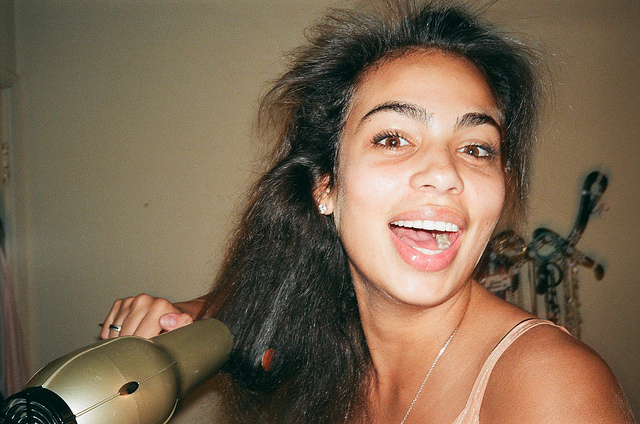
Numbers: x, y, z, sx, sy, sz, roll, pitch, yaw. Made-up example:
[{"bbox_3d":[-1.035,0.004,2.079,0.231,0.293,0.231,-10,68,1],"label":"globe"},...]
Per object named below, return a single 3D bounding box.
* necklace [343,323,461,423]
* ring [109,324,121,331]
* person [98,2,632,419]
[{"bbox_3d":[0.331,0.631,2.310,0.024,0.543,0.007,44,1,39],"label":"necklace"},{"bbox_3d":[-0.780,0.443,2.292,0.030,0.009,0.023,11,3,-2],"label":"ring"},{"bbox_3d":[0.304,0.106,2.887,1.470,1.983,0.782,9,-16,8],"label":"person"}]
